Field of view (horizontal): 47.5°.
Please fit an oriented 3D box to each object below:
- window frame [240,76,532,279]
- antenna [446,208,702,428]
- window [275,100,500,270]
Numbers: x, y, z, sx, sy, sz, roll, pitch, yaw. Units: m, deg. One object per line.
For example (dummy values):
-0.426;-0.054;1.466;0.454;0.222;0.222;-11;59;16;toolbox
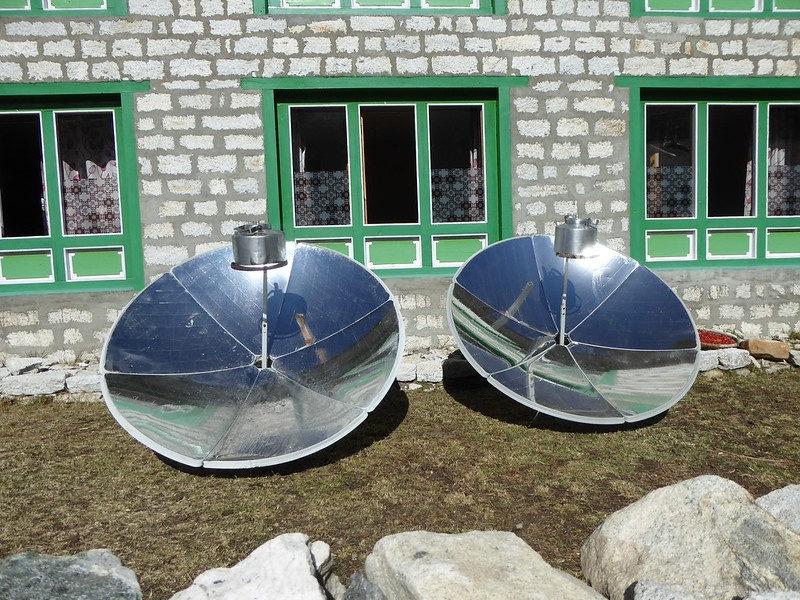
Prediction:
-0.134;-1.181;8.763;1.984;1.455;0.227;0;12;0;window frame
1.459;0.243;7.512;1.849;1.167;1.814;2;49;2;antenna
-0.117;-1.158;9.111;2.284;1.826;0.090;-1;10;-1;window
